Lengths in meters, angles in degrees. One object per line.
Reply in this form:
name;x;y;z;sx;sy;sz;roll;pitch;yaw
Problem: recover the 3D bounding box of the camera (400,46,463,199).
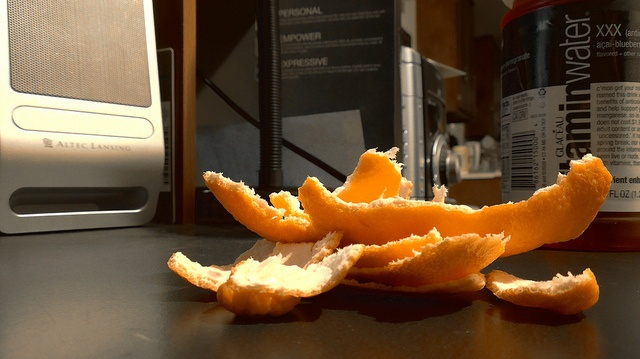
camera;0.230;-0.126;1.312;0.271;0.366;0.240;-1;1;14
